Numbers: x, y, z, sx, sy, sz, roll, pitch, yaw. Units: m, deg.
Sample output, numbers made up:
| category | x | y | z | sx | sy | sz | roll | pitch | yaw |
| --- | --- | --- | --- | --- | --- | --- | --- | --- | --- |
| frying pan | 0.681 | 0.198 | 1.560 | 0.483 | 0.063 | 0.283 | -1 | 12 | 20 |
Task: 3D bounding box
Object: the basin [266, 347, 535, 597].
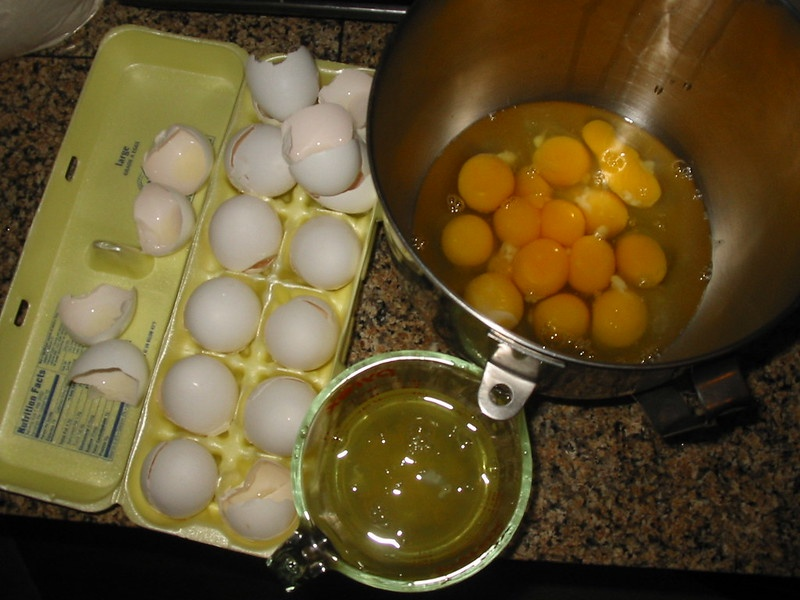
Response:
| category | x | y | z | sx | sy | sz | roll | pitch | yaw |
| --- | --- | --- | --- | --- | --- | --- | --- | --- | --- |
| basin | 0.014 | 0.293 | 1.236 | 0.388 | 0.116 | 0.413 | 0 | 77 | -2 |
